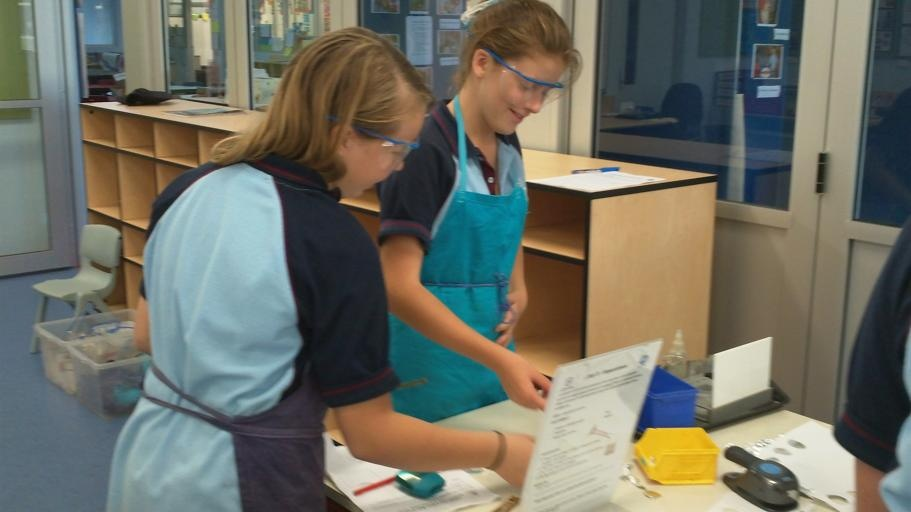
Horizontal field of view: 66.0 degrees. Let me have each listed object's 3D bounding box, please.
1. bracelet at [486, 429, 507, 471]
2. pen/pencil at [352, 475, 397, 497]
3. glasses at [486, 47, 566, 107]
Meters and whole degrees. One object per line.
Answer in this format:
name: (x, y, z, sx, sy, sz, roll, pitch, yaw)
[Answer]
bracelet: (0.150, 0.624, 2.259, 0.029, 0.100, 0.106, 13, -23, -24)
pen/pencil: (-0.275, 0.783, 2.391, 0.152, 0.018, 0.022, -14, 17, -26)
glasses: (0.243, -0.654, 2.547, 0.184, 0.055, 0.138, 39, 18, 14)
